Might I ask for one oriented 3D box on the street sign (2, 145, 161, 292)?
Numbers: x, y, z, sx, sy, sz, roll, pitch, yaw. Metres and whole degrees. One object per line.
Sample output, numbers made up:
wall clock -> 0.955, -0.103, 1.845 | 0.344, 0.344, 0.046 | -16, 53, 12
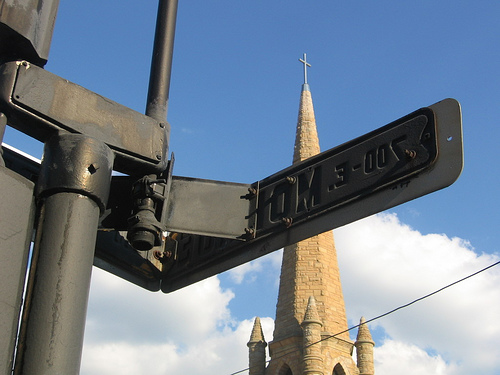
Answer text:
street sign -> -0.821, 0.112, 3.482 | 0.858, 0.131, 0.229 | 34, -72, 3
